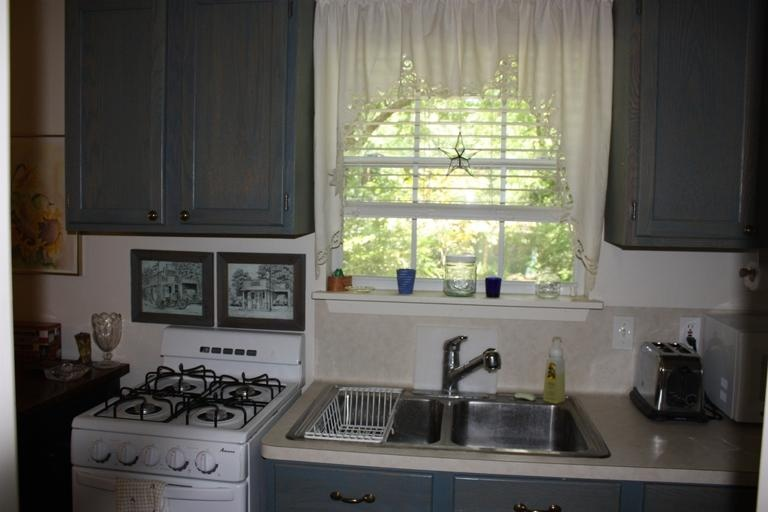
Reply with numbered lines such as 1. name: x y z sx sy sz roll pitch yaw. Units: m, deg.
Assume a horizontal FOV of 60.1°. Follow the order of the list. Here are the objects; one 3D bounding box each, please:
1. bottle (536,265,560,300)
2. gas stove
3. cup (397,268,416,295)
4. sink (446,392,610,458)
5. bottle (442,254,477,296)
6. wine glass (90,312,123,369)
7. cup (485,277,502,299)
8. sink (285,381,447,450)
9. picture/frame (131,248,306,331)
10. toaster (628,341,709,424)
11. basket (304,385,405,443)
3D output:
1. bottle: 0.860 0.140 3.475 0.122 0.159 0.133 1 3 0
2. gas stove: -0.922 0.685 3.243 0.905 0.220 0.618 1 3 8
3. cup: 0.112 0.134 3.488 0.119 0.132 0.118 1 -1 0
4. sink: 0.669 0.835 3.204 0.407 0.147 0.332 1 6 2
5. bottle: 0.400 0.107 3.465 0.194 0.205 0.197 -2 -3 44
6. wine glass: -1.519 0.456 3.617 0.152 0.286 0.133 1 3 -2
7. cup: 0.564 0.166 3.439 0.097 0.107 0.099 2 3 0
8. sink: -0.042 0.799 3.279 0.417 0.163 0.356 3 8 11
9. picture/frame: -0.907 0.187 3.592 0.967 0.414 0.052 1 3 9
10. toaster: 1.411 0.619 3.309 0.264 0.311 0.428 3 3 6
11. basket: -0.156 0.783 3.260 0.252 0.090 0.256 0 21 12
